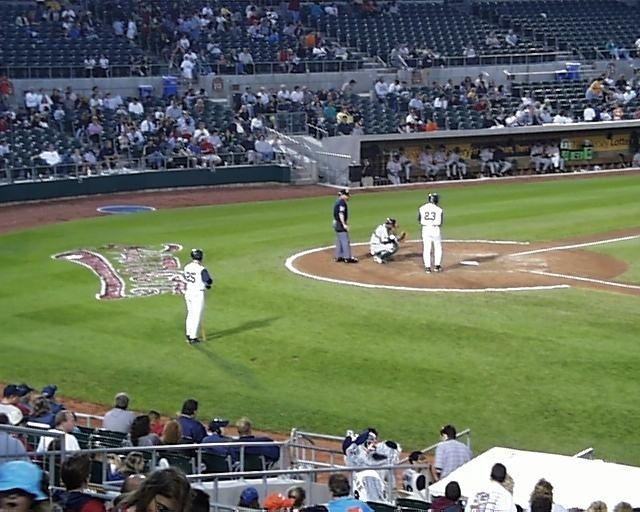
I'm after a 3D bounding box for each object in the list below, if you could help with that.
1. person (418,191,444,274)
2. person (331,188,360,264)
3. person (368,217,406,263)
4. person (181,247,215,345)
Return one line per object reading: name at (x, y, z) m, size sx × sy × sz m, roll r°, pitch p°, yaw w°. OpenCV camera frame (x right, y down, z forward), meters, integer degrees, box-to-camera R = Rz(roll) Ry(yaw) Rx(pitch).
person at (3.207, -0.712, 41.049) m, size 0.922 × 2.216 × 0.830 m, roll 19°, pitch 19°, yaw 31°
person at (0.775, -0.910, 42.097) m, size 0.664 × 2.303 × 1.422 m, roll -1°, pitch 10°, yaw 1°
person at (1.997, -0.525, 42.231) m, size 1.000 × 1.302 × 1.060 m, roll 5°, pitch 16°, yaw -15°
person at (-3.237, 1.037, 36.929) m, size 0.731 × 2.501 × 0.586 m, roll -3°, pitch 10°, yaw -6°
